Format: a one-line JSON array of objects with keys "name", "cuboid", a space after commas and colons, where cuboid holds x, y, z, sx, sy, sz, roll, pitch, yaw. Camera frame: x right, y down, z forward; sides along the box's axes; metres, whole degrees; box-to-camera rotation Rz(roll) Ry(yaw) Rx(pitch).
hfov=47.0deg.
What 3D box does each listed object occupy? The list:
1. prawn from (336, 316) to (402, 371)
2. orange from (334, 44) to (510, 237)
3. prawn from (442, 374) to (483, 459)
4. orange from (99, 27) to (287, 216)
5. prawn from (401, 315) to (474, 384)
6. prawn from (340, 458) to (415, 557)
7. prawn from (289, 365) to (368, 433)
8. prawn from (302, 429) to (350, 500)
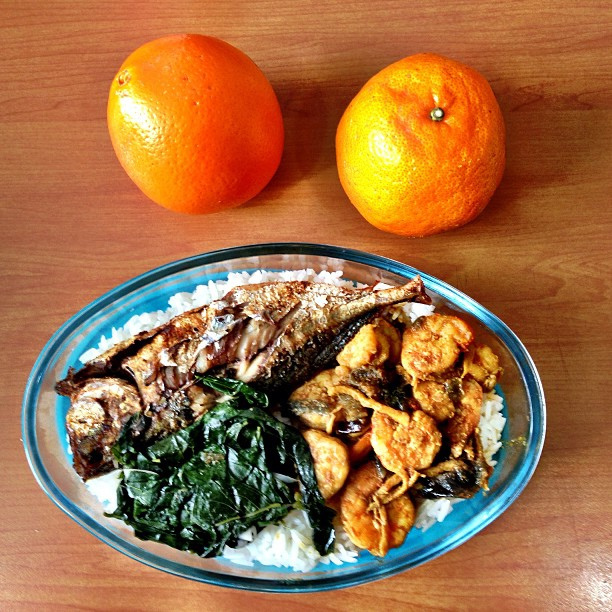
[{"name": "prawn", "cuboid": [0.141, 0.088, 1.619, 0.160, 0.065, 0.115, -14, 81, -2]}, {"name": "orange", "cuboid": [0.268, -0.376, 1.788, 0.536, 0.252, 0.396, -11, 92, -1]}, {"name": "prawn", "cuboid": [0.365, 0.244, 1.632, 0.054, 0.160, 0.203, 14, 81, -17]}, {"name": "orange", "cuboid": [-0.280, -0.443, 1.750, 0.500, 0.493, 0.384, 1, 100, -40]}, {"name": "prawn", "cuboid": [0.279, 0.088, 1.615, 0.161, 0.055, 0.180, 44, 60, -9]}, {"name": "prawn", "cuboid": [0.153, 0.452, 1.572, 0.165, 0.061, 0.212, -29, 81, -5]}, {"name": "prawn", "cuboid": [0.053, 0.214, 1.588, 0.171, 0.054, 0.134, -30, 81, -5]}, {"name": "prawn", "cuboid": [0.051, 0.345, 1.552, 0.083, 0.043, 0.156, -15, 80, -2]}]
